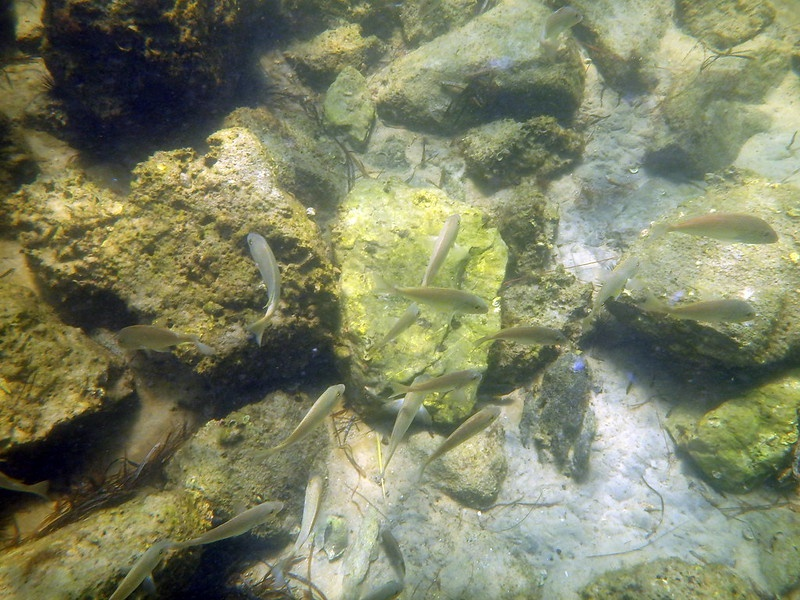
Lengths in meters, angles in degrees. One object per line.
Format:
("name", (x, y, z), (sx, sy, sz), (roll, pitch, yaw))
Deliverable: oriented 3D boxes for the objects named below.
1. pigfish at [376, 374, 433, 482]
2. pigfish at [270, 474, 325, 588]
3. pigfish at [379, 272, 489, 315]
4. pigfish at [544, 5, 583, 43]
("pigfish", (0.069, 1.633, 10.296), (0.207, 0.524, 1.317), (24, 81, 15))
("pigfish", (-1.332, 2.983, 10.184), (0.278, 0.426, 1.374), (34, 68, -17))
("pigfish", (0.356, -0.071, 10.072), (1.056, 0.318, 0.230), (10, 52, -7))
("pigfish", (2.049, -3.544, 10.343), (0.265, 0.590, 0.347), (-34, 89, -6))
